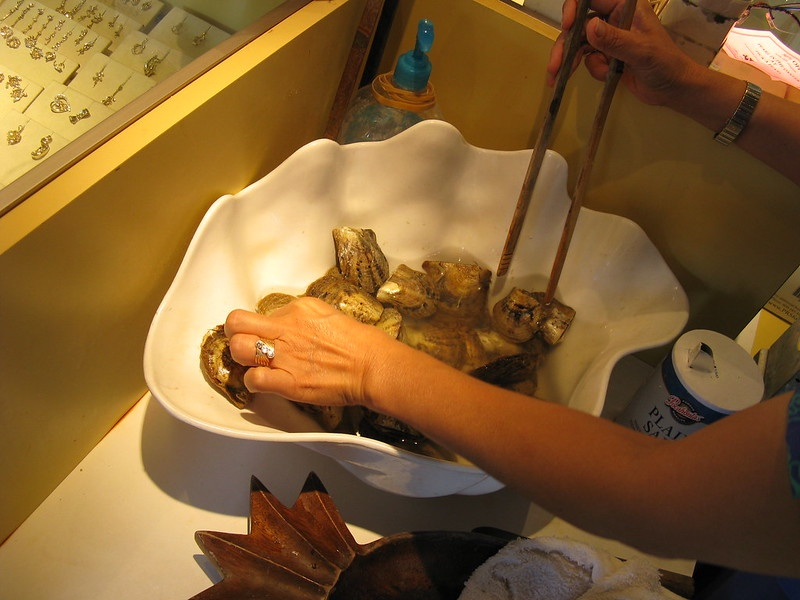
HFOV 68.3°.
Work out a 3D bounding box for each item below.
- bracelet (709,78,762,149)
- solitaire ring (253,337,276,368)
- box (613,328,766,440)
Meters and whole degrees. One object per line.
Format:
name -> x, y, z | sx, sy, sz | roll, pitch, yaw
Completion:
bracelet -> 0.450, -0.250, 0.770 | 0.031, 0.053, 0.058 | 24, 93, 18
solitaire ring -> -0.152, 0.062, 0.658 | 0.021, 0.020, 0.023 | 1, 59, -1
box -> 0.385, 0.130, 0.785 | 0.126, 0.189, 0.112 | -37, 66, -21
